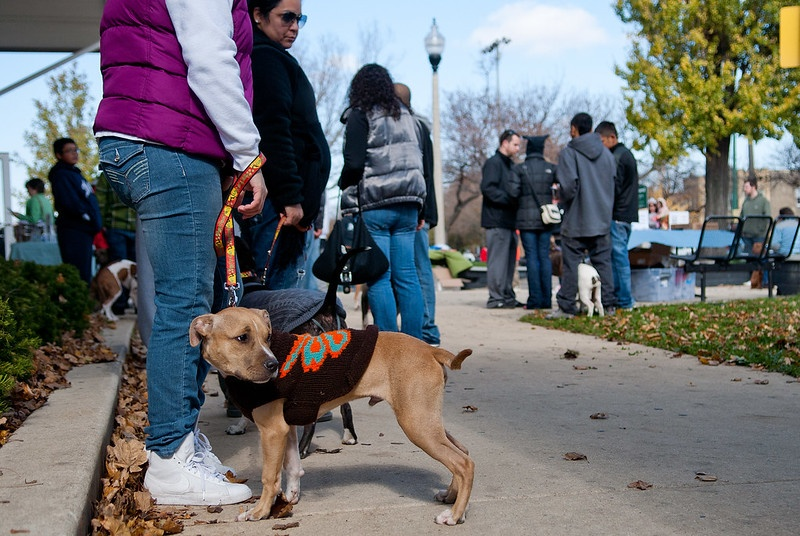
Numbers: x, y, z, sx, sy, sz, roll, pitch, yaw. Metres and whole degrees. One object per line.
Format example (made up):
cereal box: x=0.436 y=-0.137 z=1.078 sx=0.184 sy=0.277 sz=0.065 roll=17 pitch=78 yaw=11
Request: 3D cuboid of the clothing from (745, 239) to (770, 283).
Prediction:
clothing: x=6.467 y=-0.159 z=15.590 sx=0.199 sy=0.773 sz=0.224 roll=7 pitch=-19 yaw=-20

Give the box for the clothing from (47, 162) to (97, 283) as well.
clothing: x=-4.673 y=-0.617 z=12.470 sx=0.525 sy=1.897 sz=0.666 roll=-9 pitch=20 yaw=-15

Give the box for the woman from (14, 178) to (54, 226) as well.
woman: x=-7.335 y=-1.216 z=17.322 sx=0.581 sy=1.135 sz=0.771 roll=19 pitch=11 yaw=36

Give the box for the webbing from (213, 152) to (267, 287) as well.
webbing: x=-1.261 y=-0.377 z=6.460 sx=0.186 sy=0.910 sz=0.488 roll=10 pitch=-1 yaw=27

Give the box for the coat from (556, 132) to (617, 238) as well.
coat: x=2.687 y=-1.204 z=12.512 sx=0.828 sy=1.519 sz=0.458 roll=0 pitch=9 yaw=12

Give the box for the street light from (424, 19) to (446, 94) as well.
street light: x=0.827 y=-5.261 z=20.855 sx=0.626 sy=1.692 sz=0.634 roll=-1 pitch=-5 yaw=-5

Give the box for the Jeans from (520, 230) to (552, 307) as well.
Jeans: x=2.287 y=-0.049 z=14.315 sx=0.473 sy=1.510 sz=0.349 roll=3 pitch=-12 yaw=-19

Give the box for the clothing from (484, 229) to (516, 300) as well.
clothing: x=1.777 y=-0.091 z=14.946 sx=0.400 sy=1.376 sz=0.558 roll=2 pitch=7 yaw=33

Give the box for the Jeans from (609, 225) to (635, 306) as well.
Jeans: x=3.443 y=-0.143 z=13.414 sx=0.414 sy=1.535 sz=0.486 roll=-5 pitch=24 yaw=12

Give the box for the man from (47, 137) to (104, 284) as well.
man: x=-4.628 y=-0.730 z=12.457 sx=0.580 sy=2.282 sz=0.582 roll=5 pitch=17 yaw=21

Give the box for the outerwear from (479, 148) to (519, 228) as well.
outerwear: x=1.696 y=-1.453 z=15.057 sx=1.009 sy=1.647 sz=1.331 roll=0 pitch=8 yaw=7

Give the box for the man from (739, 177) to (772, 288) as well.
man: x=7.172 y=-0.698 z=17.577 sx=0.663 sy=2.200 sz=0.668 roll=-15 pitch=15 yaw=-29
